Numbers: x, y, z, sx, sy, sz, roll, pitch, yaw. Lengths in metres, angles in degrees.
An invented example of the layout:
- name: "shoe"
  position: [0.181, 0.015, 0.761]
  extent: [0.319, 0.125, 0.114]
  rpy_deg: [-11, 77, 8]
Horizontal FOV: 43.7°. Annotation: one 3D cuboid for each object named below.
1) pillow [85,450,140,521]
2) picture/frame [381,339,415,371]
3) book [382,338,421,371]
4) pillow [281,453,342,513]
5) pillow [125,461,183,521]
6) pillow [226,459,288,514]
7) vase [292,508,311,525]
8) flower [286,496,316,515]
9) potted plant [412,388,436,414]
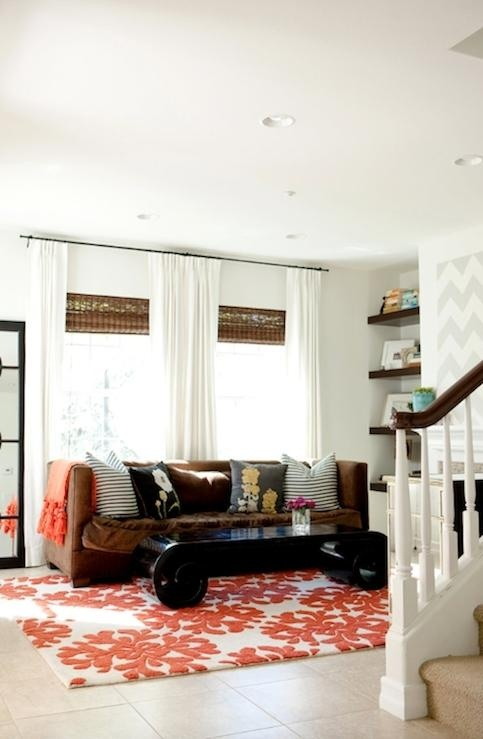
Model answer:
- name: "pillow"
  position: [-0.975, 0.891, 4.520]
  extent: [0.153, 0.403, 0.377]
  rpy_deg: [-36, -32, 26]
- name: "picture/frame"
  position: [1.742, -0.151, 6.686]
  extent: [0.047, 0.335, 0.346]
  rpy_deg: [26, -19, -25]
- name: "book"
  position: [1.772, -0.157, 6.648]
  extent: [0.112, 0.280, 0.323]
  rpy_deg: [11, -11, -26]
- name: "pillow"
  position: [0.595, 0.983, 5.120]
  extent: [0.404, 0.409, 0.171]
  rpy_deg: [1, -37, 0]
- name: "pillow"
  position: [-0.671, 0.983, 4.781]
  extent: [0.246, 0.464, 0.532]
  rpy_deg: [-4, -6, 22]
- name: "pillow"
  position: [0.140, 1.030, 5.146]
  extent: [0.497, 0.488, 0.184]
  rpy_deg: [2, -24, 0]
- name: "vase"
  position: [0.436, 1.072, 4.410]
  extent: [0.125, 0.128, 0.230]
  rpy_deg: [0, -9, 3]
- name: "flower"
  position: [0.445, 0.977, 4.417]
  extent: [0.183, 0.122, 0.188]
  rpy_deg: [-9, -15, 30]
- name: "potted plant"
  position: [1.705, 0.281, 5.672]
  extent: [0.221, 0.214, 0.177]
  rpy_deg: [-6, -11, 32]
